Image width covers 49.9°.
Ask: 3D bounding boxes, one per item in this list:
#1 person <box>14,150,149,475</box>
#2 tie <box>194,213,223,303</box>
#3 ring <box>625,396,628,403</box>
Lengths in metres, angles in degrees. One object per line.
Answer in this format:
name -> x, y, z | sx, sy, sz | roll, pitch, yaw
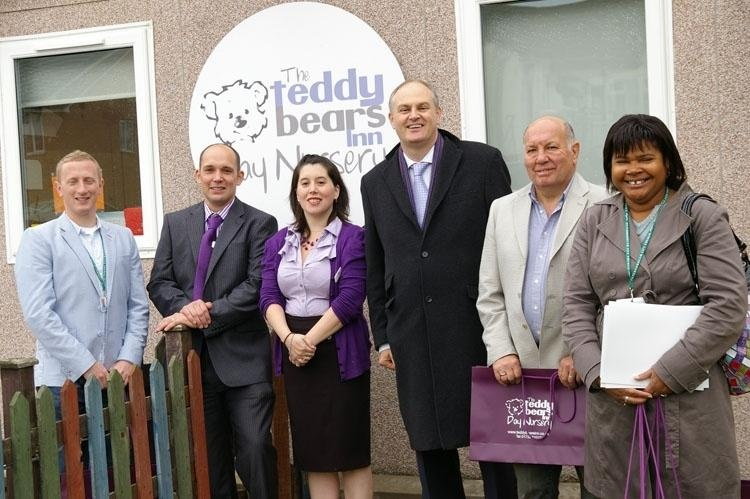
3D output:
person -> -1.918, 0.208, 5.341 | 0.825, 1.848, 0.438 | -2, 0, -23
tie -> -1.145, 0.049, 5.537 | 0.110, 0.727, 0.086 | 9, -17, 7
ring -> 1.290, 0.760, 4.120 | 0.027, 0.026, 0.007 | 1, -4, 31
